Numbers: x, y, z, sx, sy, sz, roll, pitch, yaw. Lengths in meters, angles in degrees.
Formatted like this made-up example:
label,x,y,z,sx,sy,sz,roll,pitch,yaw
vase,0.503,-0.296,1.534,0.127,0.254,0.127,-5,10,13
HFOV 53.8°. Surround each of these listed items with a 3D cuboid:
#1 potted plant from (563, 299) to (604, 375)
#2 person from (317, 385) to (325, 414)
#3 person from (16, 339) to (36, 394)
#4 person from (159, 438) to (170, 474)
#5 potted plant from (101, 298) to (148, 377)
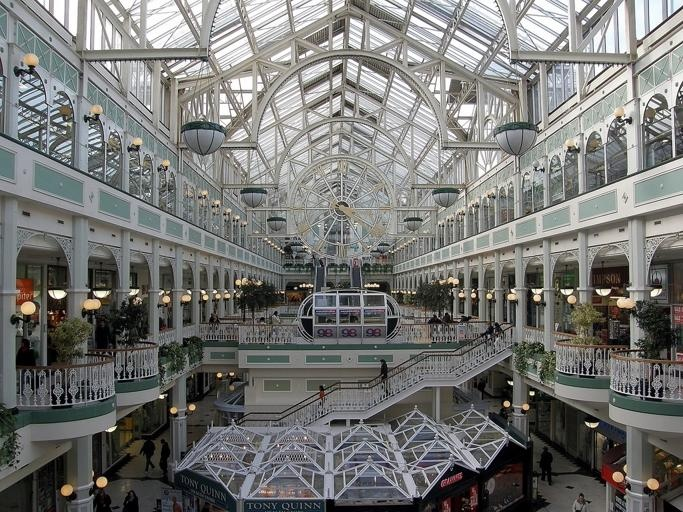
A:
label,x,y,z,sx,sy,sz,roll,pitch,yaw
potted plant,9.683,2.639,26.477,1.061,1.220,2.462,-12,-23,18
person,-1.045,7.188,33.893,0.383,1.228,1.093,-1,-6,-3
person,-10.617,3.620,22.441,0.553,1.686,1.790,2,-7,-27
person,-8.542,9.605,32.193,0.460,1.538,2.005,0,-7,-15
potted plant,-8.390,3.261,25.897,1.727,3.287,1.670,0,-22,-1
